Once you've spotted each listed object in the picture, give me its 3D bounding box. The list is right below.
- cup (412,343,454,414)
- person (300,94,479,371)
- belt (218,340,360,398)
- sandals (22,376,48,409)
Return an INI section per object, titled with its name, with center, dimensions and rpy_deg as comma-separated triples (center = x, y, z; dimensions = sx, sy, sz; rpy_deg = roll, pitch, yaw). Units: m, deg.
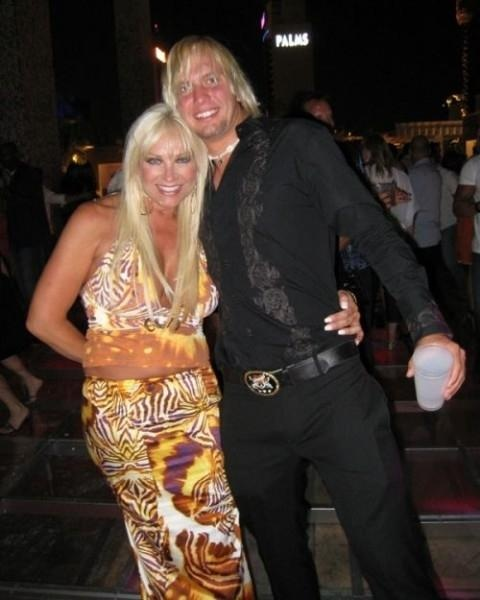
[cup]
center = 0.451, 0.189, 1.298
dimensions = 0.088, 0.186, 0.080
rpy_deg = 0, 15, 15
[person]
center = 0.375, -0.196, 1.467
dimensions = 0.226, 0.847, 0.211
rpy_deg = -26, 0, -30
[belt]
center = 0.125, 0.157, 1.525
dimensions = 0.204, 0.059, 0.226
rpy_deg = -17, -3, 37
[sandals]
center = -1.636, 0.692, 4.338
dimensions = 0.187, 0.367, 0.118
rpy_deg = 16, 27, -4
